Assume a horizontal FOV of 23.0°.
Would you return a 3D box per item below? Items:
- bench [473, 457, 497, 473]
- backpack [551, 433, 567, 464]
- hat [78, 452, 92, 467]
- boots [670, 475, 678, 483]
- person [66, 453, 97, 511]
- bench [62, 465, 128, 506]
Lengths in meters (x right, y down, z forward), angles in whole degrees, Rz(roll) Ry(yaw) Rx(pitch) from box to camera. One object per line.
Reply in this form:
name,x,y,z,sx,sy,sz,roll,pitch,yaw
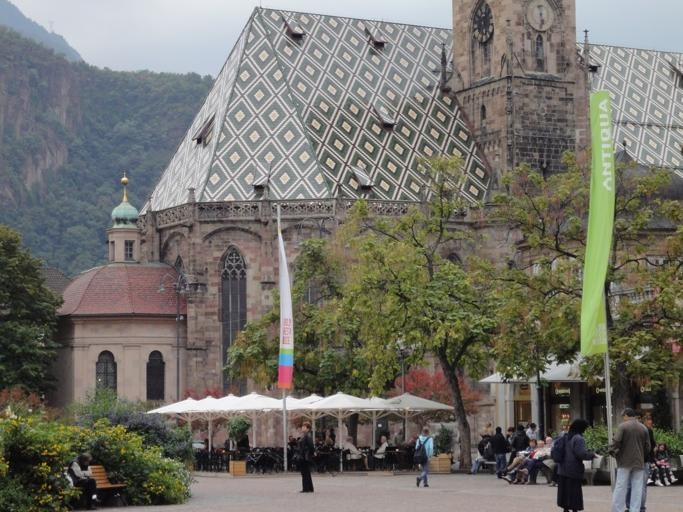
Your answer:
bench,5.707,8.375,66.991,0.713,0.363,1.083,-2,-4,11
backpack,6.567,5.832,50.623,0.257,0.768,0.562,9,8,3
hat,-8.335,6.634,54.433,0.351,0.433,0.420,5,-2,-18
boots,11.681,7.832,58.677,0.229,0.302,0.328,-3,-23,20
person,-8.335,7.274,54.232,0.951,1.802,0.678,4,-12,-30
bench,-8.300,7.551,55.394,2.223,1.346,2.022,8,-10,-30
